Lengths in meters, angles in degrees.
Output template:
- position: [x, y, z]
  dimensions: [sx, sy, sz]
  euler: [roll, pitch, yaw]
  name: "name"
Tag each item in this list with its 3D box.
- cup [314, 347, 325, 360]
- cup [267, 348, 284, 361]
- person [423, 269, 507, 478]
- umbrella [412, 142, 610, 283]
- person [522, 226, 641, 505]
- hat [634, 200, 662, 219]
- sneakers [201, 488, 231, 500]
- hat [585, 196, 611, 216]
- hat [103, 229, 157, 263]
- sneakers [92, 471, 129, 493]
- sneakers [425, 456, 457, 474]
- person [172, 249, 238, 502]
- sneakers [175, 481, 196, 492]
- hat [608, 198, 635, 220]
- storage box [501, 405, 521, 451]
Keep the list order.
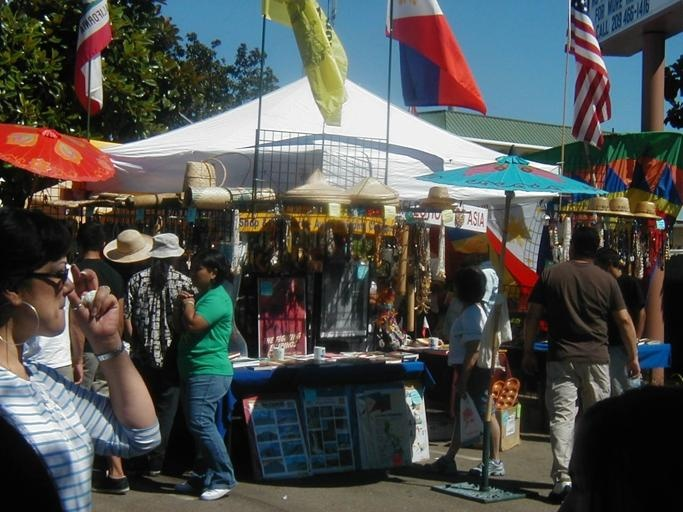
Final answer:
- position: [-0.202, 0.885, 7.803]
  dimensions: [0.086, 0.112, 0.096]
  euler: [0, 0, 0]
  name: "cup"
- position: [-0.598, 0.900, 7.825]
  dimensions: [0.104, 0.141, 0.107]
  euler: [1, 4, 0]
  name: "cup"
- position: [1.192, 1.094, 7.716]
  dimensions: [0.598, 1.899, 0.591]
  euler: [9, 14, 32]
  name: "person"
- position: [1.447, -0.462, 7.535]
  dimensions: [1.103, 0.965, 1.116]
  euler: [2, 3, 3]
  name: "umbrella"
- position: [2.050, 0.903, 7.411]
  dimensions: [0.703, 2.352, 0.778]
  euler: [4, -10, -2]
  name: "person"
- position: [3.365, -0.501, 9.563]
  dimensions: [0.273, 0.165, 0.294]
  euler: [2, -3, -14]
  name: "hat"
- position: [-1.035, 1.942, 7.072]
  dimensions: [0.230, 0.109, 0.089]
  euler: [6, -3, -28]
  name: "sneakers"
- position: [2.766, -0.533, 9.262]
  dimensions: [0.170, 0.148, 0.183]
  euler: [0, -1, 28]
  name: "hat"
- position: [-1.978, -0.033, 7.929]
  dimensions: [0.351, 0.119, 0.375]
  euler: [8, 49, 18]
  name: "hat"
- position: [-1.934, 1.916, 7.260]
  dimensions: [0.323, 0.169, 0.147]
  euler: [8, 1, 20]
  name: "sneakers"
- position: [0.931, 1.918, 7.932]
  dimensions: [0.309, 0.188, 0.124]
  euler: [4, -2, 7]
  name: "sneakers"
- position: [-1.113, 0.996, 7.042]
  dimensions: [0.443, 2.003, 0.510]
  euler: [-1, 12, -11]
  name: "person"
- position: [-1.327, 1.953, 7.274]
  dimensions: [0.145, 0.079, 0.083]
  euler: [8, -2, 20]
  name: "sneakers"
- position: [3.036, -0.522, 9.342]
  dimensions: [0.241, 0.162, 0.349]
  euler: [6, 14, 13]
  name: "hat"
- position: [1.702, 1.740, 8.692]
  dimensions: [0.247, 0.371, 0.428]
  euler: [-2, 0, 25]
  name: "storage box"
